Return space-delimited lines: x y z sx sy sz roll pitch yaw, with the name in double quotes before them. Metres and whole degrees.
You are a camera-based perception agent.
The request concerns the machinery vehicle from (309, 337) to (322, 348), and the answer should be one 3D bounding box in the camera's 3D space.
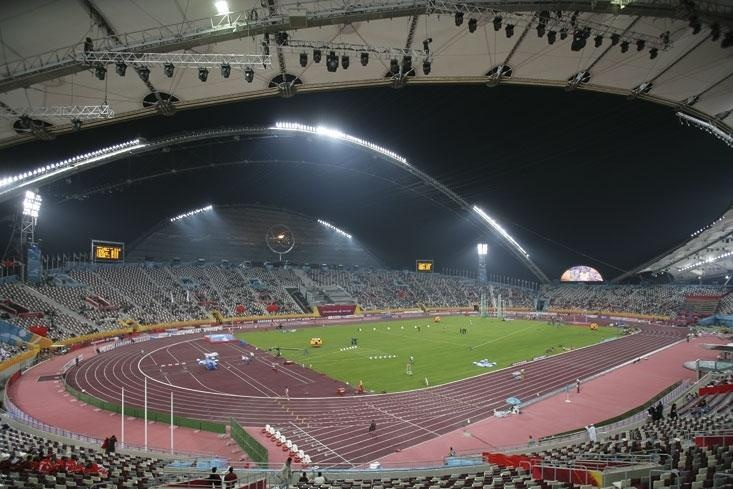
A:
"machinery vehicle" -6.493 12.899 71.451 1.162 0.873 1.370 -1 -4 3
